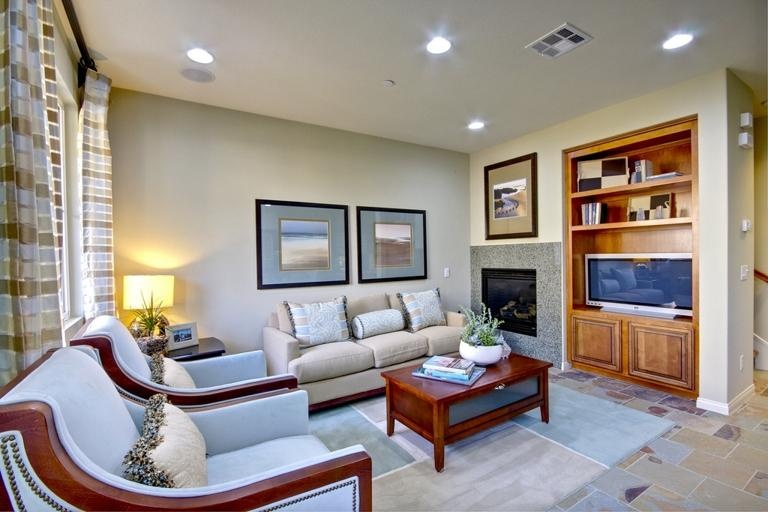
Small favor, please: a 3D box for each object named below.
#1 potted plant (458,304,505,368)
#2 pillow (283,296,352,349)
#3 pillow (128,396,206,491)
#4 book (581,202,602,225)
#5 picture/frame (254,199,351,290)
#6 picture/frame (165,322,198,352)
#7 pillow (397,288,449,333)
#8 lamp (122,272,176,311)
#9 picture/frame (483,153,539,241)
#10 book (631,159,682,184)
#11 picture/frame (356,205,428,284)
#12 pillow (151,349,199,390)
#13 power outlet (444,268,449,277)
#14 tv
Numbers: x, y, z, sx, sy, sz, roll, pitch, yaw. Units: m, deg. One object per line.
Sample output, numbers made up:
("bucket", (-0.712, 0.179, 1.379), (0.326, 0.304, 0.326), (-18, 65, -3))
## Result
("potted plant", (1.023, 0.729, 4.535), (0.500, 0.663, 0.607), (1, -4, -10))
("pillow", (-0.697, 0.704, 4.938), (0.484, 0.358, 0.164), (0, -17, -36))
("pillow", (-1.291, 1.085, 2.807), (0.333, 0.232, 0.642), (-8, 24, -17))
("book", (2.353, -0.459, 5.452), (0.286, 0.295, 0.219), (-1, 1, -42))
("picture/frame", (-0.958, -0.130, 5.320), (1.065, 0.968, 0.049), (-2, 2, -28))
("picture/frame", (-1.865, 0.749, 4.388), (0.029, 0.208, 0.252), (-14, -9, 40))
("pillow", (0.425, 0.616, 5.605), (0.763, 0.713, 0.182), (15, -21, -35))
("lamp", (-2.137, 0.319, 4.350), (0.550, 0.413, 0.289), (-1, 4, -27))
("picture/frame", (1.606, -0.725, 6.111), (0.079, 0.960, 0.826), (-4, 1, -35))
("book", (2.800, -0.852, 4.979), (0.330, 0.207, 0.319), (-3, 0, -36))
("picture/frame", (0.102, -0.128, 5.954), (0.933, 0.904, 0.051), (0, 3, 24))
("pillow", (-1.474, 0.852, 3.409), (0.189, 0.102, 0.577), (17, -3, -27))
("power outlet", (0.840, 0.218, 6.442), (0.090, 0.132, 0.019), (-4, 1, -39))
("tv", (2.676, 0.299, 5.102), (0.159, 0.552, 1.077), (-4, 1, -33))
